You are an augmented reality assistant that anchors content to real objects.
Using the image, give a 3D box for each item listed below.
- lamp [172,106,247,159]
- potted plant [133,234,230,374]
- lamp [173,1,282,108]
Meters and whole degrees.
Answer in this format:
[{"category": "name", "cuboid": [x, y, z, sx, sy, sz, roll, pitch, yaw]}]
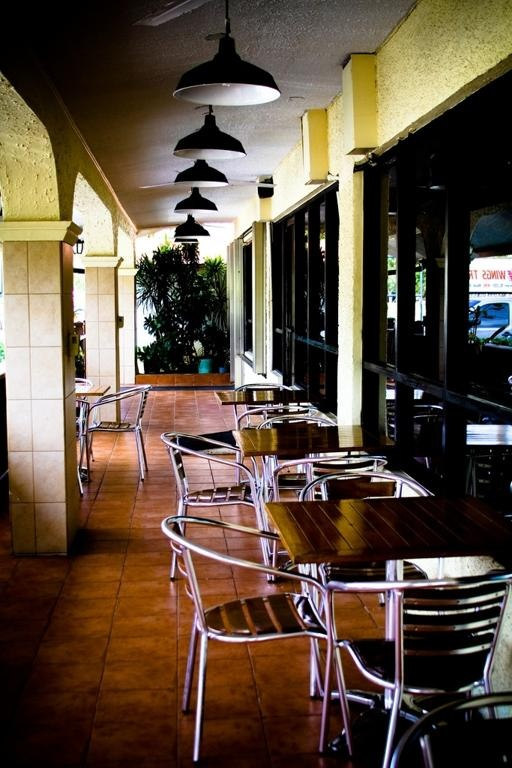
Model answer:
[{"category": "lamp", "cuboid": [-0.234, -1.157, 2.771, 0.286, 0.312, 0.280, -5, 9, -29]}, {"category": "potted plant", "cuboid": [-1.766, -1.875, 13.608, 2.171, 3.158, 1.073, -1, 2, -6]}, {"category": "lamp", "cuboid": [-0.079, -1.098, 2.000, 0.336, 0.400, 0.379, -1, 5, 1]}]
